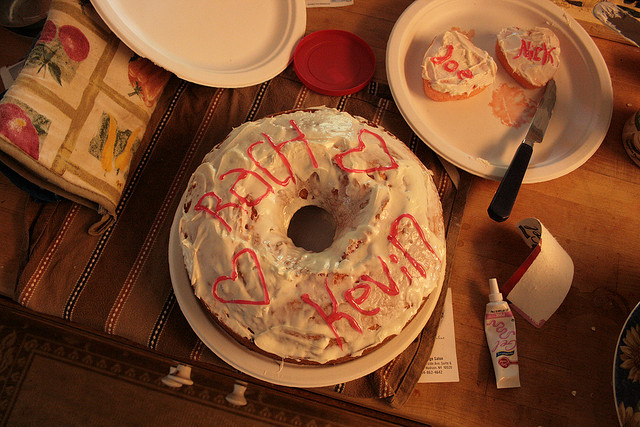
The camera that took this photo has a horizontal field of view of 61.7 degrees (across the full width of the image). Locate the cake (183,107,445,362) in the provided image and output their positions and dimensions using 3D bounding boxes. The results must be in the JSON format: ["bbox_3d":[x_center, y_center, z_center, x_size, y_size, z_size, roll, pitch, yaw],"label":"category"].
[{"bbox_3d":[-0.021,0.056,1.620,0.794,0.167,0.759,1,80,0],"label":"cake"}]

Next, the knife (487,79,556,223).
[{"bbox_3d":[0.695,-0.240,1.770,0.078,0.033,0.602,27,70,16],"label":"knife"}]
